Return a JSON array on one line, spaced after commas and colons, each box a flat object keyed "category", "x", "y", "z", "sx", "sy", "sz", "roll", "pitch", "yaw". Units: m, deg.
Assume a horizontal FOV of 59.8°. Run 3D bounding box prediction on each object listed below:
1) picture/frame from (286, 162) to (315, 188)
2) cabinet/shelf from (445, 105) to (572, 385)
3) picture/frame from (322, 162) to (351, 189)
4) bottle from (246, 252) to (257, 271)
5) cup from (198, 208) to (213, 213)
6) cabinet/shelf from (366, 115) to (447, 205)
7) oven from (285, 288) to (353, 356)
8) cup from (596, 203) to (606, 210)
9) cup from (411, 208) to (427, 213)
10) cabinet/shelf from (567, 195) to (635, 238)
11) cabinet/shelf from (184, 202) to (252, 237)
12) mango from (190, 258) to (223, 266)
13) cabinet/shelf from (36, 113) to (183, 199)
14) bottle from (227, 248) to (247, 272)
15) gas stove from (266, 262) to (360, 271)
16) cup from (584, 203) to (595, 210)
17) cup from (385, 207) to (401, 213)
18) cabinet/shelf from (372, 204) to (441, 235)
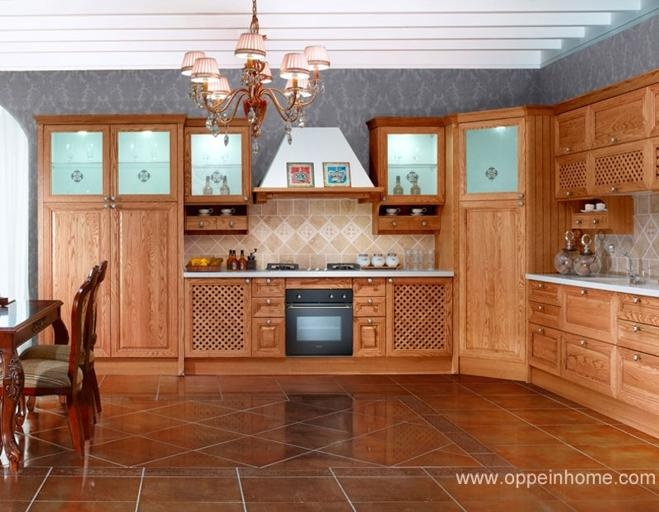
[{"category": "picture/frame", "x": -0.329, "y": -0.891, "z": 6.385, "sx": 0.327, "sy": 0.290, "sz": 0.022, "roll": 0, "pitch": -12, "yaw": -4}, {"category": "cabinet/shelf", "x": 1.854, "y": -0.123, "z": 6.404, "sx": 1.277, "sy": 2.818, "sz": 0.694, "roll": 0, "pitch": -7, "yaw": 22}, {"category": "picture/frame", "x": 0.079, "y": -0.916, "z": 6.406, "sx": 0.319, "sy": 0.269, "sz": 0.113, "roll": 0, "pitch": 6, "yaw": -2}, {"category": "bottle", "x": -0.908, "y": 0.060, "z": 6.700, "sx": 0.115, "sy": 0.193, "sz": 0.267, "roll": -1, "pitch": 6, "yaw": -8}, {"category": "cup", "x": -1.422, "y": -0.513, "z": 6.549, "sx": 0.144, "sy": 0.072, "sz": 0.099, "roll": -2, "pitch": 6, "yaw": -18}, {"category": "cabinet/shelf", "x": 0.910, "y": -1.075, "z": 6.529, "sx": 1.178, "sy": 1.121, "sz": 0.574, "roll": 0, "pitch": -1, "yaw": -2}, {"category": "oven", "x": -0.227, "y": 0.763, "z": 6.467, "sx": 0.867, "sy": 0.734, "sz": 0.559, "roll": 4, "pitch": -9, "yaw": -31}, {"category": "cup", "x": 2.684, "y": -0.488, "z": 5.664, "sx": 0.069, "sy": 0.044, "sz": 0.065, "roll": 0, "pitch": -1, "yaw": 0}, {"category": "cup", "x": 1.040, "y": -0.524, "z": 6.660, "sx": 0.097, "sy": 0.042, "sz": 0.074, "roll": 3, "pitch": -5, "yaw": -19}, {"category": "cabinet/shelf", "x": 2.783, "y": -0.380, "z": 5.725, "sx": 0.795, "sy": 0.403, "sz": 0.295, "roll": -4, "pitch": 18, "yaw": -24}, {"category": "cabinet/shelf", "x": -1.297, "y": -0.421, "z": 6.602, "sx": 0.735, "sy": 0.357, "sz": 0.326, "roll": -1, "pitch": 6, "yaw": -12}, {"category": "mango", "x": -1.425, "y": 0.057, "z": 6.590, "sx": 0.342, "sy": 0.089, "sz": 0.389, "roll": 0, "pitch": 6, "yaw": -1}, {"category": "cabinet/shelf", "x": -2.431, "y": -1.030, "z": 6.307, "sx": 1.631, "sy": 0.942, "sz": 0.258, "roll": -8, "pitch": 20, "yaw": -41}, {"category": "bottle", "x": -1.087, "y": 0.053, "z": 6.639, "sx": 0.286, "sy": 0.359, "sz": 0.123, "roll": 1, "pitch": 4, "yaw": -2}, {"category": "gas stove", "x": -0.182, "y": 0.117, "z": 6.609, "sx": 1.082, "sy": 0.077, "sz": 0.511, "roll": 0, "pitch": 6, "yaw": -5}, {"category": "cup", "x": 2.632, "y": -0.493, "z": 5.807, "sx": 0.076, "sy": 0.051, "sz": 0.075, "roll": 0, "pitch": 0, "yaw": 0}, {"category": "cup", "x": 0.733, "y": -0.523, "z": 6.654, "sx": 0.076, "sy": 0.039, "sz": 0.092, "roll": -3, "pitch": -7, "yaw": 38}, {"category": "cabinet/shelf", "x": 0.901, "y": -0.427, "z": 6.707, "sx": 0.768, "sy": 0.345, "sz": 0.225, "roll": 0, "pitch": 6, "yaw": -2}]
